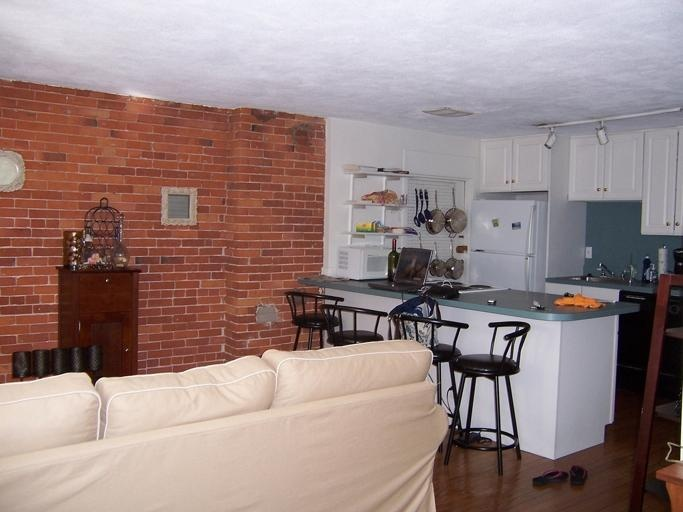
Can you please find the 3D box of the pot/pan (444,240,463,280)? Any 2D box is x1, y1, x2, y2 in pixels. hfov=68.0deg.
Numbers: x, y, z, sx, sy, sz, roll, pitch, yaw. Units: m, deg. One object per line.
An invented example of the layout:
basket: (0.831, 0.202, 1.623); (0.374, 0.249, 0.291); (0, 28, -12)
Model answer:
pot/pan: (1.506, 0.051, 6.705); (0.145, 0.530, 0.328); (1, 3, 40)

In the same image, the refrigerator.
refrigerator: (2.062, -0.150, 6.349); (0.902, 1.137, 0.310); (1, 3, 40)

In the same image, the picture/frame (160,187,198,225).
picture/frame: (-1.647, -0.508, 5.052); (0.474, 0.392, 0.049); (-1, 5, -35)

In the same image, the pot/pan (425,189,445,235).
pot/pan: (1.227, -0.564, 6.472); (0.342, 0.517, 0.087); (14, -15, -43)

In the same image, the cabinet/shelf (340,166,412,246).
cabinet/shelf: (0.364, -0.574, 5.730); (1.181, 0.941, 0.343); (0, 1, -39)

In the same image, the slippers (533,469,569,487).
slippers: (1.414, 1.491, 3.419); (0.257, 0.055, 0.090); (-4, 9, -15)

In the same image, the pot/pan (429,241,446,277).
pot/pan: (1.237, 0.051, 6.497); (0.165, 0.447, 0.319); (-6, -7, 44)

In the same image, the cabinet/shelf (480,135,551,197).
cabinet/shelf: (2.352, -1.180, 6.527); (0.428, 0.666, 1.070); (-8, 10, -33)

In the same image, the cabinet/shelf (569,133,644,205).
cabinet/shelf: (3.284, -1.091, 6.002); (0.472, 0.819, 1.076); (-10, 12, -24)

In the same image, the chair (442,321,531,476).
chair: (1.082, 0.972, 3.747); (0.597, 1.058, 0.860); (0, 2, 19)

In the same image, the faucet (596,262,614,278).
faucet: (3.306, 0.163, 6.299); (0.095, 0.172, 0.220); (-2, 2, -22)

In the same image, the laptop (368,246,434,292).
laptop: (0.627, 0.115, 4.611); (0.409, 0.376, 0.575); (2, 3, -42)
